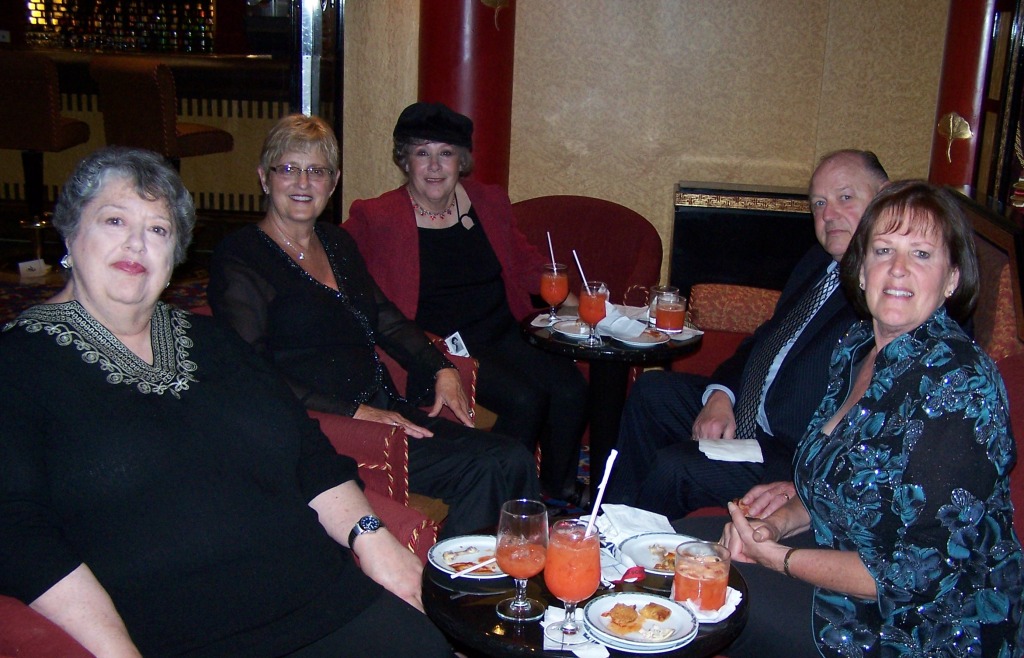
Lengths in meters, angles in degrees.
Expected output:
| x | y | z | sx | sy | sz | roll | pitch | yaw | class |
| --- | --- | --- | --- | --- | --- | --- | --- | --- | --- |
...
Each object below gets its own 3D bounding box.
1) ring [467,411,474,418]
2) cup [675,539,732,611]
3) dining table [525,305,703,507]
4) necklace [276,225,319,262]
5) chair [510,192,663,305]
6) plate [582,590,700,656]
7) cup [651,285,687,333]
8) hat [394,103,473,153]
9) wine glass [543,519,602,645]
| x | y | z | sx | sy | sz | roll | pitch | yaw | class |
| --- | --- | --- | --- | --- | --- | --- | --- | --- | --- |
| -0.179 | 0.379 | 3.476 | 0.023 | 0.032 | 0.011 | 1 | -11 | -6 | ring |
| 0.525 | 0.697 | 2.177 | 0.178 | 0.193 | 0.181 | 7 | -24 | 3 | cup |
| 0.395 | 0.384 | 4.082 | 0.866 | 0.920 | 0.808 | -2 | 20 | -5 | dining table |
| -0.903 | -0.354 | 3.303 | 0.111 | 0.144 | 0.109 | -37 | -11 | -1 | necklace |
| 0.504 | -0.572 | 5.007 | 0.817 | 0.757 | 0.701 | 10 | 14 | -1 | chair |
| 0.341 | 0.769 | 2.051 | 0.296 | 0.065 | 0.182 | 2 | 17 | 11 | plate |
| 0.768 | -0.088 | 3.881 | 0.188 | 0.215 | 0.202 | -1 | 4 | 0 | cup |
| -0.397 | -1.076 | 4.140 | 0.472 | 0.185 | 0.357 | 10 | 9 | 19 | hat |
| 0.165 | 0.674 | 2.118 | 0.160 | 0.318 | 0.159 | 2 | 0 | 13 | wine glass |
